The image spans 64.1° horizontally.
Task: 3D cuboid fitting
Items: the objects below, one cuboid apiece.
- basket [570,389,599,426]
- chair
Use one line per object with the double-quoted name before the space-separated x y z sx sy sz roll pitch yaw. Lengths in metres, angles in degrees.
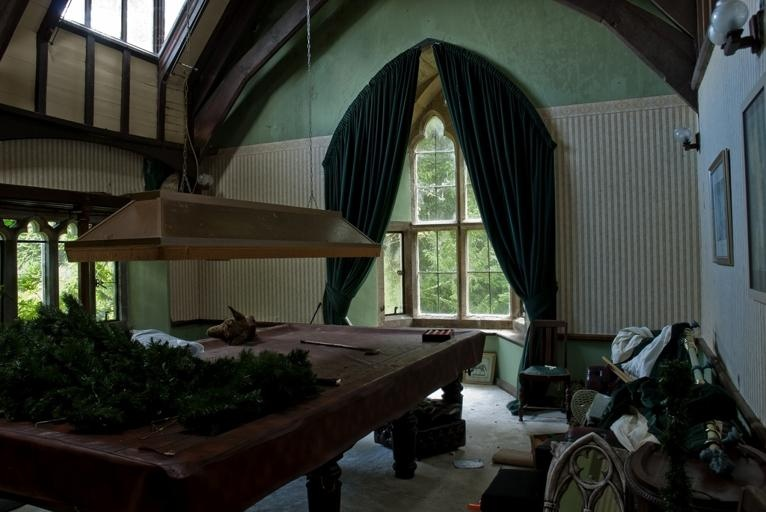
"basket" 2.060 1.605 6.397 0.211 0.376 0.399 2 7 29
"chair" 1.951 1.339 7.376 0.612 1.195 0.557 1 -1 13
